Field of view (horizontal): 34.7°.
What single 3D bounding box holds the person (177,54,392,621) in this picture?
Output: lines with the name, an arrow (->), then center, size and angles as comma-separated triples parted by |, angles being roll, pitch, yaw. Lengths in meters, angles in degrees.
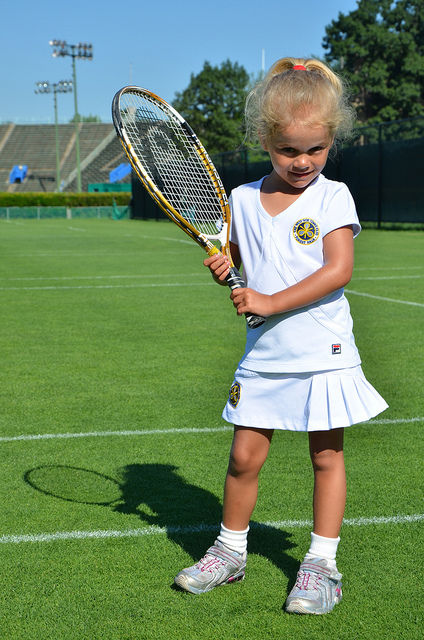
person -> 0.220, -0.005, 1.897 | 0.551, 1.398, 0.775 | 1, 10, 7

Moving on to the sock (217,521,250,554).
sock -> 0.056, 0.574, 1.806 | 0.085, 0.069, 0.070 | 4, 1, -29

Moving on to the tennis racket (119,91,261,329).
tennis racket -> 0.019, -0.403, 2.539 | 0.336, 1.116, 0.089 | -3, -33, -39
